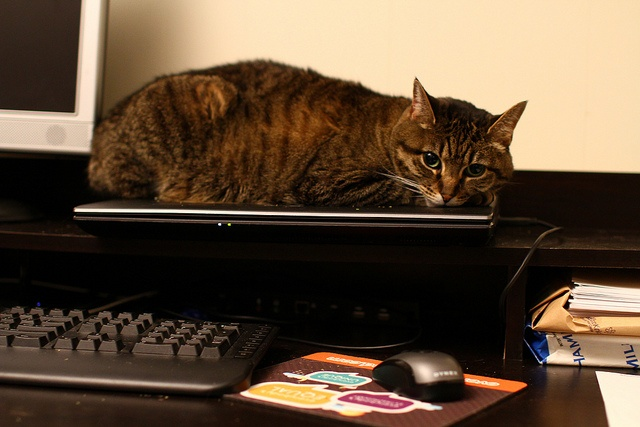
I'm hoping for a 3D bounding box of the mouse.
[{"bbox_3d":[0.181,0.274,0.996,0.079,0.044,0.125,-4,9,-40],"label":"mouse"}]

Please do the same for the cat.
[{"bbox_3d":[-0.038,-0.201,1.609,1.072,0.323,0.458,3,12,3],"label":"cat"}]
